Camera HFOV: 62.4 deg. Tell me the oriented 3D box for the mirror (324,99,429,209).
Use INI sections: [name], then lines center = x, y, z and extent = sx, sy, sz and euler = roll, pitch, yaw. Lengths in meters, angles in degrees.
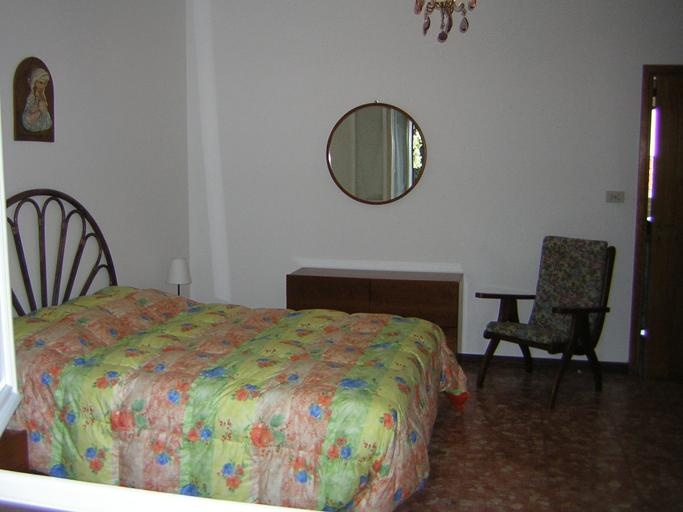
[mirror]
center = 0.341, -0.907, 4.847
extent = 0.788, 0.902, 0.033
euler = 4, 11, 9
